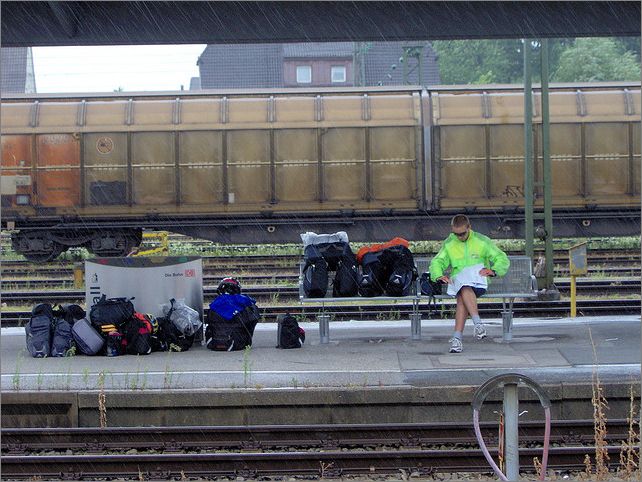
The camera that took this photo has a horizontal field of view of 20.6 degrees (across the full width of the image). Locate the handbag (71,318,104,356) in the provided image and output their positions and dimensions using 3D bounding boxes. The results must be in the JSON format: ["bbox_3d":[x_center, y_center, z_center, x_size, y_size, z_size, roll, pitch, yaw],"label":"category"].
[{"bbox_3d":[-5.011,2.081,38.482,0.661,0.699,0.164,-3,1,12],"label":"handbag"}]

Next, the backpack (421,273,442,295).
[{"bbox_3d":[2.484,0.975,39.055,0.509,0.502,0.392,-20,-13,35],"label":"backpack"}]

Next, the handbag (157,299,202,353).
[{"bbox_3d":[-3.095,1.832,39.225,1.100,1.202,0.860,1,2,-4],"label":"handbag"}]

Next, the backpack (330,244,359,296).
[{"bbox_3d":[0.632,0.614,39.141,0.565,1.086,0.377,1,5,-3],"label":"backpack"}]

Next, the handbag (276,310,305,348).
[{"bbox_3d":[-0.563,1.972,39.248,0.653,0.862,0.647,0,2,-11],"label":"handbag"}]
